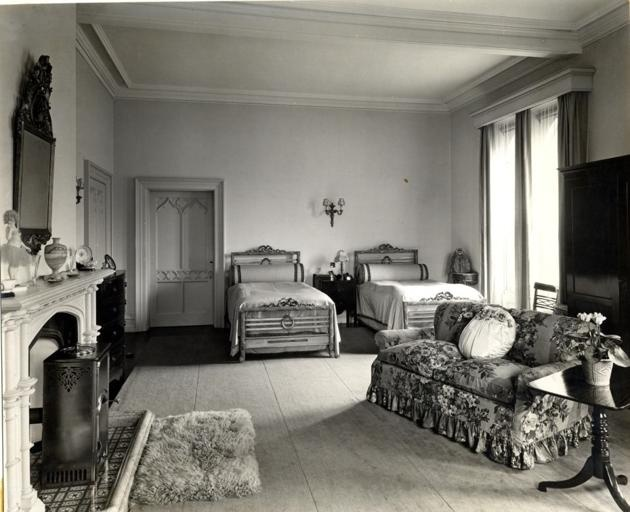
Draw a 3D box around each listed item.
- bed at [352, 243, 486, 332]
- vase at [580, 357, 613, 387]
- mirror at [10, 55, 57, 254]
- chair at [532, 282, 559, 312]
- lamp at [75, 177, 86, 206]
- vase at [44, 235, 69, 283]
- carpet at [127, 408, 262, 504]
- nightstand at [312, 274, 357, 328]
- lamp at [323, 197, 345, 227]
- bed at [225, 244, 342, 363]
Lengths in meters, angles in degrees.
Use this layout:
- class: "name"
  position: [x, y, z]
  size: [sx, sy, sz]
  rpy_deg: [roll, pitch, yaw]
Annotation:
- class: "bed"
  position: [1.324, 0.494, 7.281]
  size: [1.098, 1.273, 1.741]
  rpy_deg: [-1, -3, -9]
- class: "vase"
  position: [1.755, 0.703, 3.020]
  size: [0.150, 0.144, 0.170]
  rpy_deg: [1, -4, -9]
- class: "mirror"
  position: [-1.924, -0.700, 3.331]
  size: [0.162, 1.360, 0.582]
  rpy_deg: [-1, 5, -13]
- class: "chair"
  position: [2.702, 0.472, 5.635]
  size: [0.288, 0.548, 0.319]
  rpy_deg: [0, -1, 35]
- class: "lamp"
  position: [-2.718, -0.755, 5.591]
  size: [0.070, 0.320, 0.390]
  rpy_deg: [-2, 5, -21]
- class: "vase"
  position: [-1.882, 0.006, 3.502]
  size: [0.138, 0.285, 0.148]
  rpy_deg: [7, 8, 28]
- class: "carpet"
  position: [-0.850, 1.446, 3.582]
  size: [0.851, 0.146, 1.099]
  rpy_deg: [-1, 5, -11]
- class: "nightstand"
  position: [0.305, 0.701, 7.877]
  size: [0.650, 1.139, 0.753]
  rpy_deg: [-1, -1, -11]
- class: "lamp"
  position: [0.297, -0.742, 7.963]
  size: [0.413, 0.641, 0.142]
  rpy_deg: [0, 0, -20]
- class: "bed"
  position: [-0.548, 0.553, 6.811]
  size: [1.372, 1.265, 2.064]
  rpy_deg: [-1, 5, -12]
